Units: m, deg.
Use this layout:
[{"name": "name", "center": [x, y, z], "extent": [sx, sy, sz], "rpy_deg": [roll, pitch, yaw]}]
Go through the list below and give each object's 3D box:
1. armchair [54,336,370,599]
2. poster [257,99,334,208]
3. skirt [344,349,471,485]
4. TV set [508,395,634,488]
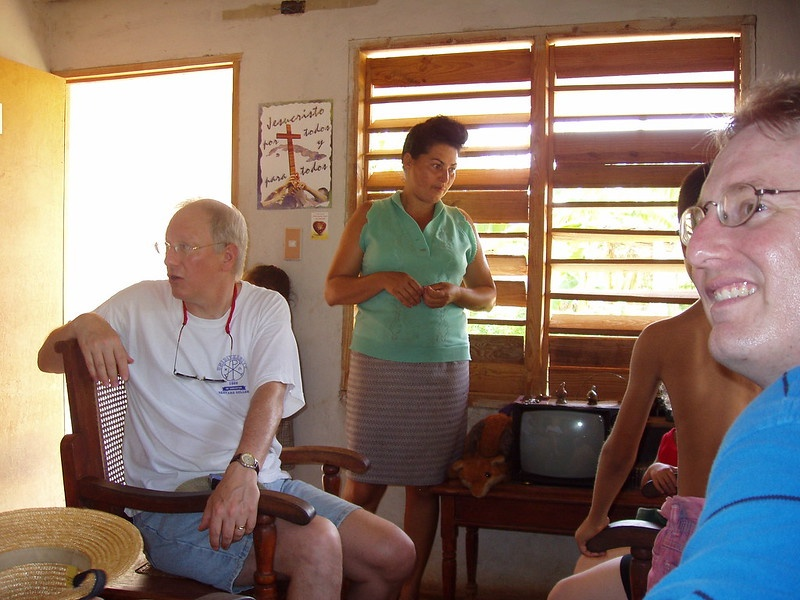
[{"name": "armchair", "center": [-0.488, 0.497, 2.323], "extent": [0.820, 1.026, 0.709], "rpy_deg": [-3, -6, 14]}, {"name": "poster", "center": [-0.552, -0.798, 3.675], "extent": [0.610, 0.758, 0.039], "rpy_deg": [2, 3, 16]}, {"name": "skirt", "center": [0.023, 0.478, 2.740], "extent": [0.558, 0.558, 0.316], "rpy_deg": [2, -4, -3]}, {"name": "TV set", "center": [0.673, 0.576, 2.778], "extent": [0.501, 0.351, 0.324], "rpy_deg": [2, 4, -1]}]
